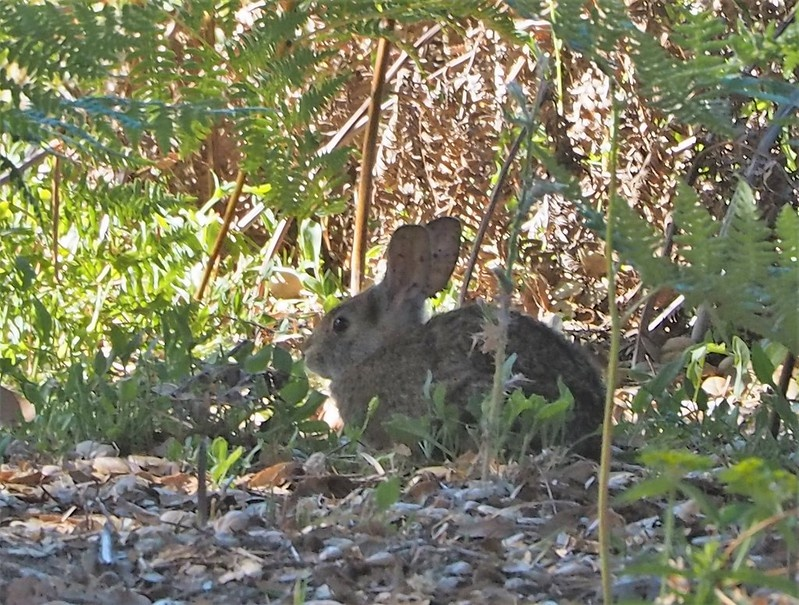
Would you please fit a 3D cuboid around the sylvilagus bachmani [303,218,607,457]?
[{"bbox_3d":[0.159,0.140,3.321,1.013,0.753,0.341,10,0,37],"label":"sylvilagus bachmani"}]
